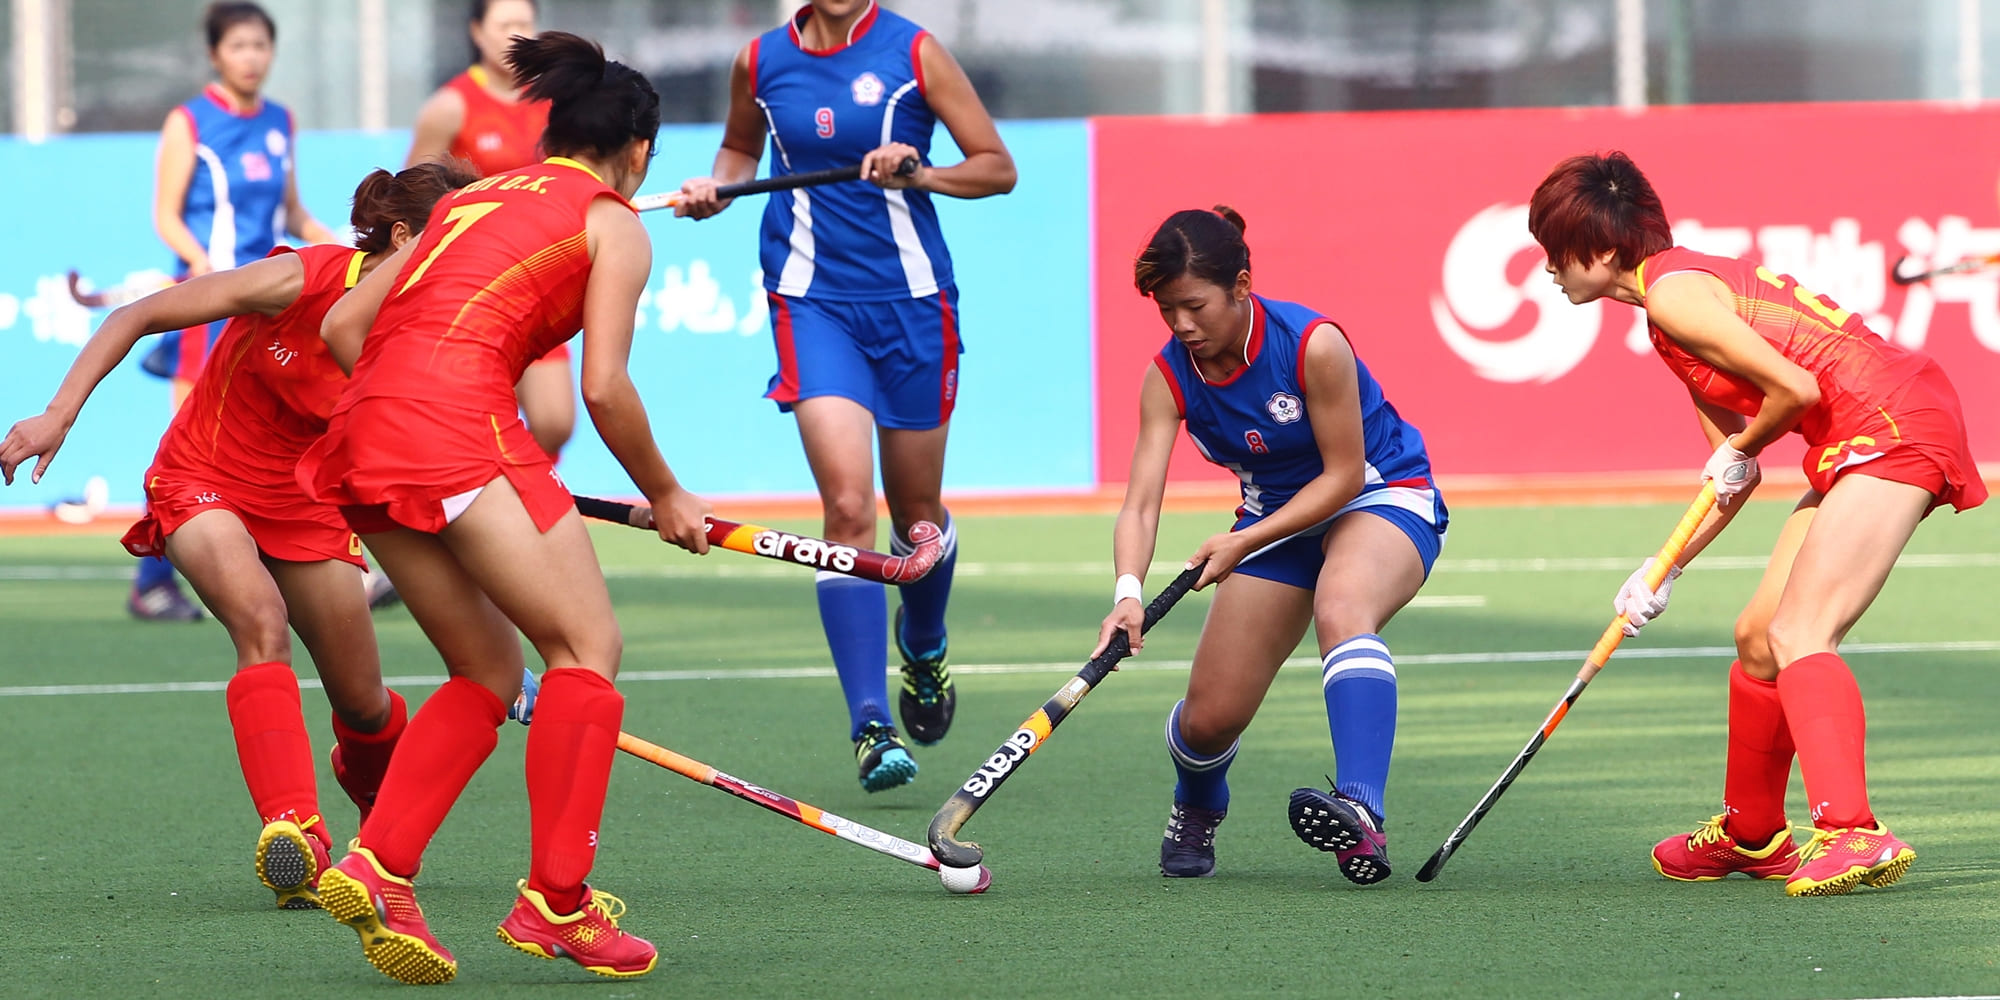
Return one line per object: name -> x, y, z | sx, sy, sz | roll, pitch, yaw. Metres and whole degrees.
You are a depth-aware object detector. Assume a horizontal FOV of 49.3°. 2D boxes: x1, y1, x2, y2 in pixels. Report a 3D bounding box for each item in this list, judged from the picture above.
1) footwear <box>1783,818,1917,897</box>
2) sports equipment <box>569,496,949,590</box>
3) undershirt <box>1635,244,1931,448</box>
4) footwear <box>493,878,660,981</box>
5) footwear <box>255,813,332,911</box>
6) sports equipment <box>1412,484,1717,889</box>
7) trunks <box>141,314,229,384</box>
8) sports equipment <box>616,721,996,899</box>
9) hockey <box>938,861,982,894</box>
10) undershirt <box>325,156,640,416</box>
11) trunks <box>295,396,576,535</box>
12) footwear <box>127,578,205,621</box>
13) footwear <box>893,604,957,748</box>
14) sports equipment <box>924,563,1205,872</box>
footwear -> 3.309, 1.413, 8.540 | 0.609, 0.269, 0.213 | -12, -10, -6
sports equipment -> -1.184, 0.235, 10.461 | 1.778, 0.210, 0.179 | 11, 26, -3
undershirt -> 3.089, -0.543, 8.895 | 1.252, 0.428, 0.671 | 25, 28, 0
footwear -> -1.539, 1.605, 8.183 | 0.710, 0.299, 0.271 | 21, 8, -14
footwear -> -2.743, 1.377, 8.458 | 0.215, 0.494, 0.258 | -8, 38, 0
sports equipment -> 2.739, 0.959, 10.661 | 0.235, 2.230, 0.232 | 37, 14, -41
trunks -> -4.018, -0.746, 10.748 | 0.183, 0.373, 0.619 | 16, -3, -36
sports equipment -> -0.842, 1.351, 9.264 | 2.032, 0.197, 0.244 | 15, 12, -2
hockey -> -0.166, 1.508, 8.636 | 0.138, 0.086, 0.140 | 1, 6, -17
undershirt -> -1.928, -0.812, 8.098 | 0.980, 1.022, 0.427 | 22, -15, 33
trunks -> -2.077, -0.174, 8.044 | 0.905, 0.335, 0.576 | 5, 2, 42
footwear -> -4.671, 0.579, 12.444 | 0.566, 0.207, 0.179 | 1, 17, 0
footwear -> -0.342, 0.813, 10.129 | 0.279, 0.642, 0.278 | -5, 19, 1
sports equipment -> 0.172, 0.852, 8.860 | 1.166, 1.099, 0.410 | -7, 14, -25
